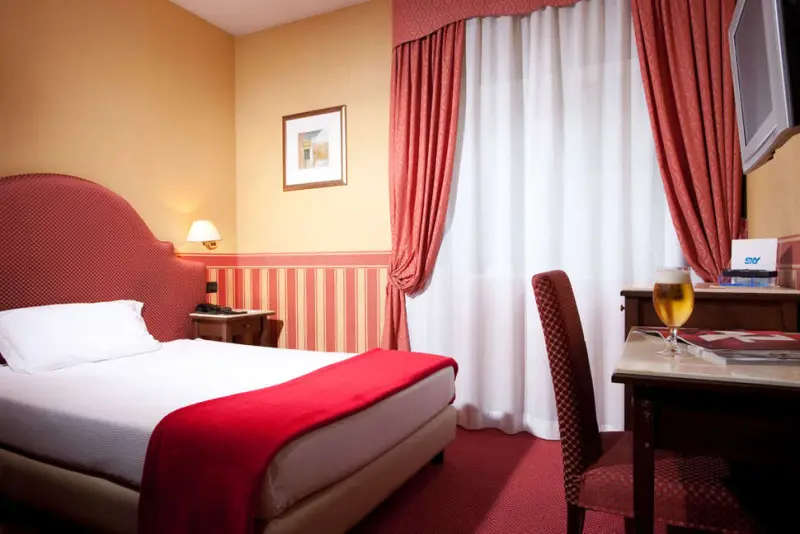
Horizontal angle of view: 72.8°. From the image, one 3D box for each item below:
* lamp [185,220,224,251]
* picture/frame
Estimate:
[{"bbox_3d":[-2.081,-0.363,5.723,0.326,0.354,0.327,1,8,26],"label":"lamp"},{"bbox_3d":[-0.909,-1.314,5.911,0.900,1.006,0.064,-1,-2,21],"label":"picture/frame"}]
